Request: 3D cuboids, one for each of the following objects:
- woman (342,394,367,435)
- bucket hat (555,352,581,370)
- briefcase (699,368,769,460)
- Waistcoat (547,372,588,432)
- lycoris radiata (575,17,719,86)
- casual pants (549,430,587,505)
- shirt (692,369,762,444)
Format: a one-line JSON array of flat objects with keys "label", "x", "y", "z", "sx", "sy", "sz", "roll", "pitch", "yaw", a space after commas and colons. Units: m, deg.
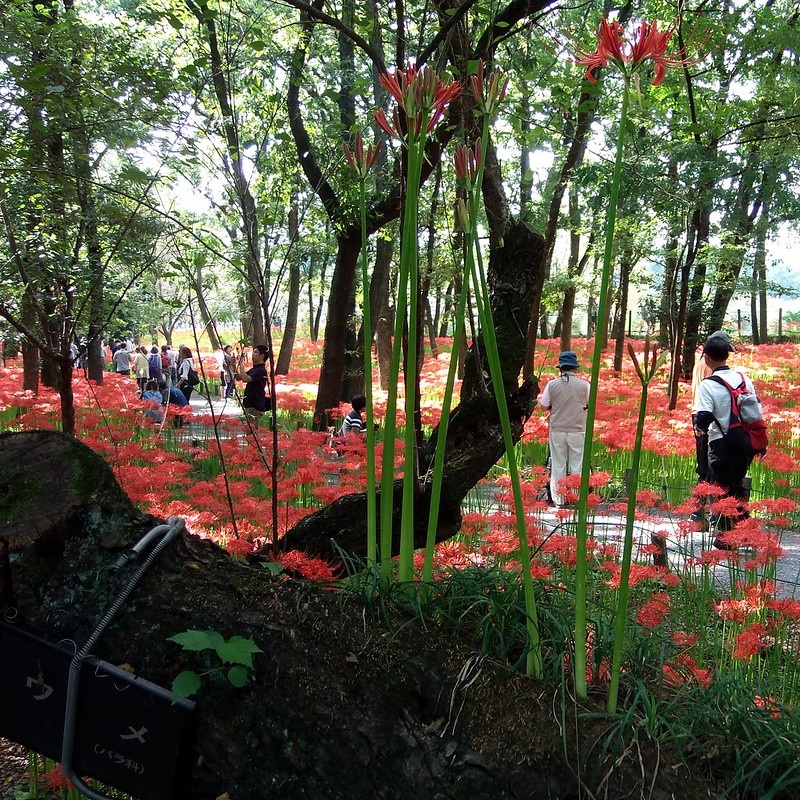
[{"label": "woman", "x": -0.670, "y": 0.230, "z": 8.958, "sx": 0.242, "sy": 0.684, "sz": 0.291, "roll": -15, "pitch": 35, "yaw": -32}, {"label": "bucket hat", "x": 1.985, "y": -0.476, "z": 7.399, "sx": 0.209, "sy": 0.150, "sz": 0.270, "roll": 2, "pitch": 13, "yaw": 10}, {"label": "briefcase", "x": 2.837, "y": 0.091, "z": 5.413, "sx": 0.415, "sy": 0.855, "sz": 0.436, "roll": -2, "pitch": 9, "yaw": -7}, {"label": "Waistcoat", "x": 1.946, "y": 0.037, "z": 7.257, "sx": 0.575, "sy": 0.778, "sz": 0.407, "roll": 2, "pitch": 12, "yaw": 12}, {"label": "lycoris radiata", "x": 0.647, "y": -0.964, "z": 1.715, "sx": 0.298, "sy": 0.233, "sz": 0.318, "roll": 4, "pitch": 7, "yaw": 9}, {"label": "casual pants", "x": 2.031, "y": 0.613, "z": 7.591, "sx": 0.396, "sy": 0.336, "sz": 1.195, "roll": -2, "pitch": -40, "yaw": 14}, {"label": "shirt", "x": 2.878, "y": 0.072, "z": 5.399, "sx": 0.595, "sy": 0.665, "sz": 0.401, "roll": -8, "pitch": 1, "yaw": -11}]
